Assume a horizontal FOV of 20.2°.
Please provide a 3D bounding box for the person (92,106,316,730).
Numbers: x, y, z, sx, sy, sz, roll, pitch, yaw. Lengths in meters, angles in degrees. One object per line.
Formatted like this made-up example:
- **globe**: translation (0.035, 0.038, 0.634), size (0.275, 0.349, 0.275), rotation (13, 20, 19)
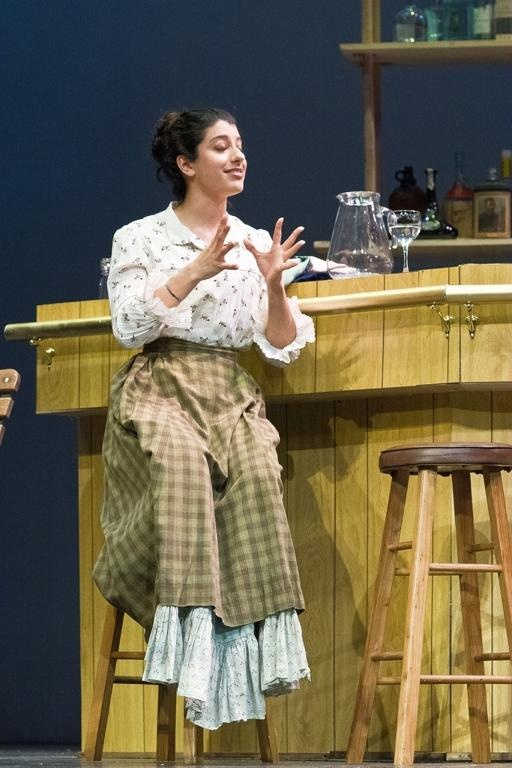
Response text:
- **person**: translation (-0.126, 0.041, 3.258), size (0.517, 1.166, 0.658), rotation (-2, 1, 2)
